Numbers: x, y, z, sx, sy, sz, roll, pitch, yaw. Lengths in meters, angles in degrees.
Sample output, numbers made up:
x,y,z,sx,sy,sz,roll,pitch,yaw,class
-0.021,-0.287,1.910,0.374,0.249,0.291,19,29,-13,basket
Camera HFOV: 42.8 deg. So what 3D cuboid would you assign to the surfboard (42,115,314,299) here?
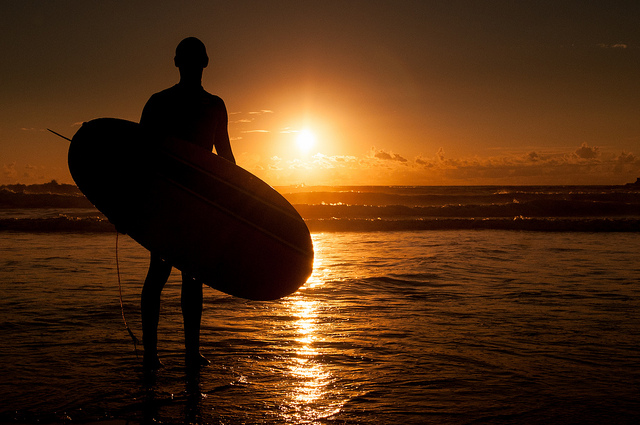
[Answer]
x,y,z,sx,sy,sz,roll,pitch,yaw,class
-1.537,0.117,8.437,2.421,0.585,1.944,22,-1,-2,surfboard
